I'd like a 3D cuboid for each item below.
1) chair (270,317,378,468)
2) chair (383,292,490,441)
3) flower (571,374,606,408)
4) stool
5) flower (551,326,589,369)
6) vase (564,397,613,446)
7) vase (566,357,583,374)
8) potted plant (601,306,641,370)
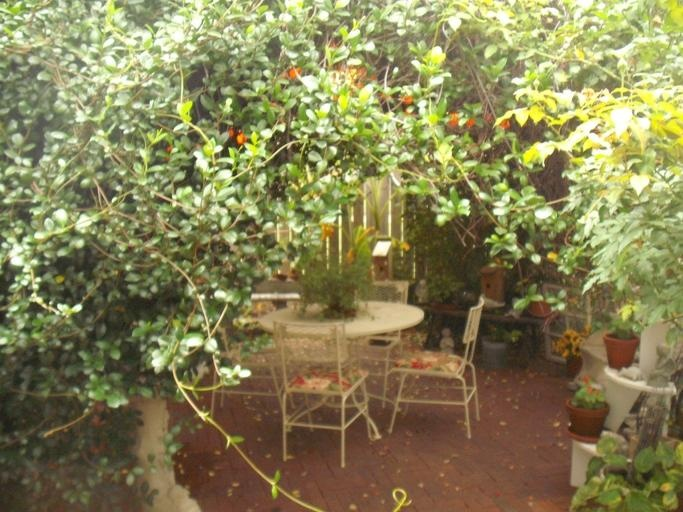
[{"bbox_3d":[-0.102,0.810,4.244,0.699,0.938,1.044,-2,9,-5],"label":"chair"},{"bbox_3d":[0.812,0.812,4.954,0.957,1.447,0.863,2,2,11],"label":"chair"},{"bbox_3d":[1.408,0.773,3.435,0.165,0.128,0.167,-5,5,-7],"label":"flower"},{"bbox_3d":[-0.817,1.210,5.172,0.424,0.868,0.499,17,10,17],"label":"stool"},{"bbox_3d":[2.023,0.815,5.393,0.282,0.300,0.276,-10,17,14],"label":"flower"},{"bbox_3d":[1.390,0.920,3.422,0.209,0.171,0.204,1,1,-36],"label":"vase"},{"bbox_3d":[2.025,0.956,5.353,0.133,0.150,0.135,-4,12,-7],"label":"vase"},{"bbox_3d":[1.623,0.445,3.509,0.194,0.384,0.198,-3,10,-14],"label":"potted plant"}]
